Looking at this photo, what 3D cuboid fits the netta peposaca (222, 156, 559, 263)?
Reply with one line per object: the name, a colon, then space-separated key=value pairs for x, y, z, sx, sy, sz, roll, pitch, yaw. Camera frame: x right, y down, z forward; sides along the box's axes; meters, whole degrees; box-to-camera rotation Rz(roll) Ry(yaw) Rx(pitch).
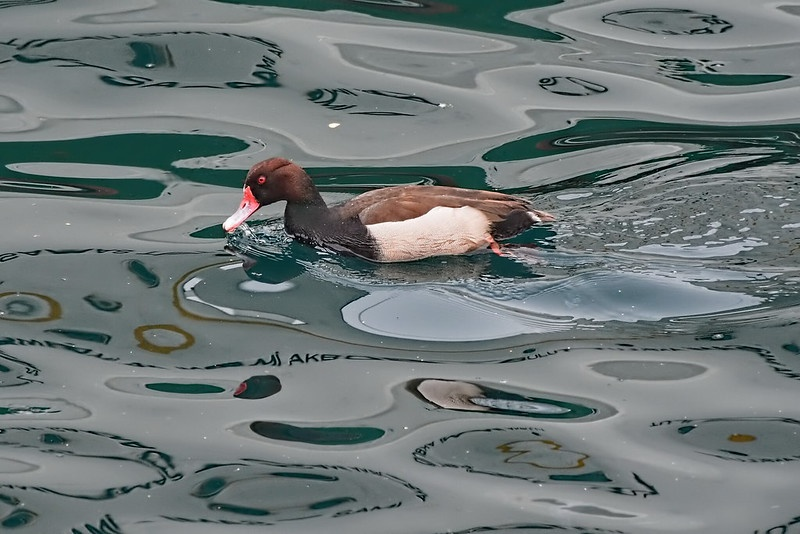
netta peposaca: x=-0.134 y=-0.612 z=9.119 sx=3.146 sy=1.120 sz=0.915 roll=2 pitch=27 yaw=16
